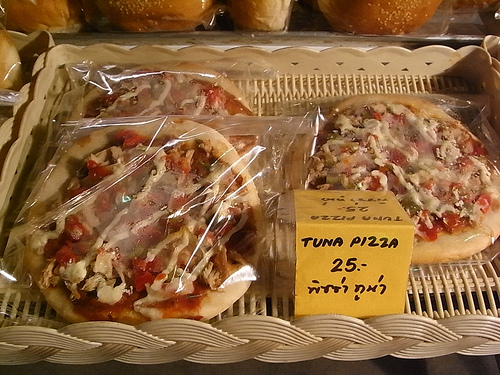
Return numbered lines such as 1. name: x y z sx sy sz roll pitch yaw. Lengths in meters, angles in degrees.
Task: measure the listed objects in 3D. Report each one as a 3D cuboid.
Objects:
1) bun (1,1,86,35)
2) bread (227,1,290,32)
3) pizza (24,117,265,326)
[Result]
1. bun: -0.748 -0.633 1.460 0.185 0.102 0.195 18 26 20
2. bread: 0.025 -0.639 1.465 0.135 0.089 0.131 14 39 16
3. pizza: -0.281 0.068 1.088 0.647 0.096 0.583 3 68 1
